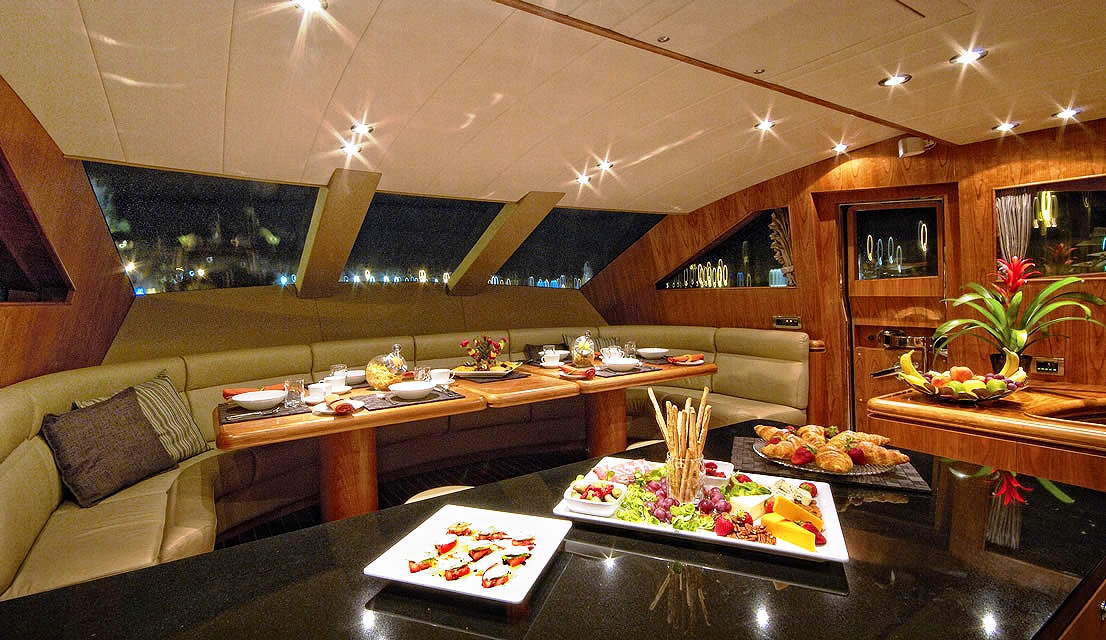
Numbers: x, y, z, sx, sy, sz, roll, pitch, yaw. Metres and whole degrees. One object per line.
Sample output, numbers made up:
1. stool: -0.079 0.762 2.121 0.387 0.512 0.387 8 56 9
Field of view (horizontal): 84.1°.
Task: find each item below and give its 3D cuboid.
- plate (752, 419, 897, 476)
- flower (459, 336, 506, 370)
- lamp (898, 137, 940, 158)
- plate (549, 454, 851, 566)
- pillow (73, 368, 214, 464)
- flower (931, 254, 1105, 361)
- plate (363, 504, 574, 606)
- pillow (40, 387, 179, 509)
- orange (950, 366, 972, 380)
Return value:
1. plate: 1.222 0.525 2.632 0.487 0.108 0.481 16 1 0
2. flower: -0.463 0.218 4.165 0.301 0.205 0.307 -1 -2 -19
3. lamp: 2.821 -1.319 4.740 0.238 0.106 0.137 -2 3 18
4. plate: 0.586 0.720 2.188 0.712 0.066 0.435 2 7 22
5. pillow: -2.501 0.646 3.802 0.162 0.499 0.532 -33 0 15
6. flower: 3.132 -0.076 4.136 0.898 0.599 0.901 -5 5 33
7. plate: -0.274 0.835 2.096 0.515 0.029 0.449 -7 -3 44
8. pillow: -2.416 0.710 3.345 0.167 0.502 0.557 -22 9 29
9. orange: 2.257 0.295 3.424 0.106 0.095 0.103 -1 -4 -42
